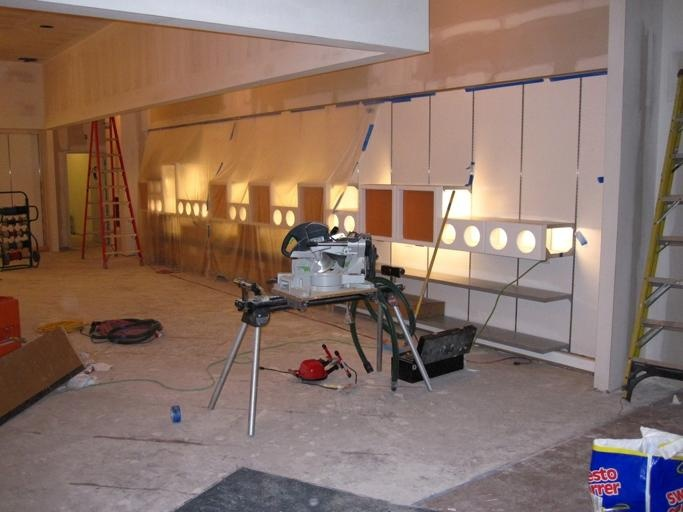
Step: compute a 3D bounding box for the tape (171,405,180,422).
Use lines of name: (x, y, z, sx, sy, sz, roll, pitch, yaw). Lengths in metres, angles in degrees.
tape: (-1.300, 1.239, 4.046, 0.056, 0.104, 0.101, -5, 4, -23)
